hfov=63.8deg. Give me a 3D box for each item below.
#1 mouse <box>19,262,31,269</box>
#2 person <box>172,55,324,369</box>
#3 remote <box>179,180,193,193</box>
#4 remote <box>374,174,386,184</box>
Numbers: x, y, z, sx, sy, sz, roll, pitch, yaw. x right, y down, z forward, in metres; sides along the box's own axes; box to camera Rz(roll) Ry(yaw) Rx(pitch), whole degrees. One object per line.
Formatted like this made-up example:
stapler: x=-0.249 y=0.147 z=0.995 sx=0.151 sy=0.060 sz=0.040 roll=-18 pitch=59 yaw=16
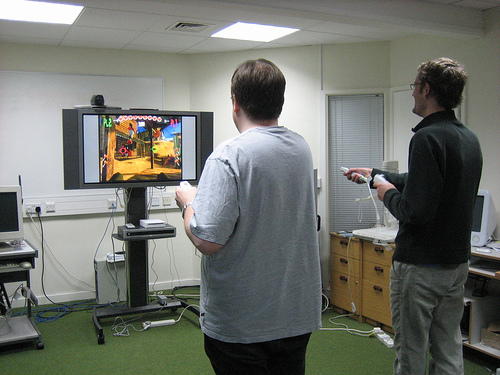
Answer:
mouse: x=-2.038 y=0.700 z=3.631 sx=0.092 sy=0.046 sz=0.072 roll=4 pitch=9 yaw=31
person: x=0.027 y=0.139 z=1.658 sx=0.595 sy=1.311 sz=0.246 roll=-2 pitch=8 yaw=-10
remote: x=-0.336 y=-0.007 z=2.065 sx=0.055 sy=0.030 sz=0.122 roll=7 pitch=22 yaw=-25
remote: x=0.801 y=-0.052 z=2.462 sx=0.075 sy=0.074 sz=0.049 roll=6 pitch=-6 yaw=25
